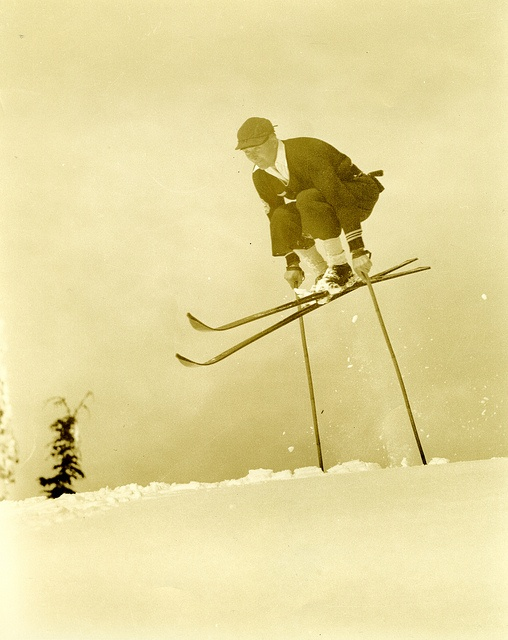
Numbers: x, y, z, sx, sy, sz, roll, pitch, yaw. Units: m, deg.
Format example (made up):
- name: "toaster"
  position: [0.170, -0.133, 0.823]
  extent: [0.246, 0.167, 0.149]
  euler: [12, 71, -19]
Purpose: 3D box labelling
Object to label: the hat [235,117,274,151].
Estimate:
- name: "hat"
  position: [0.001, -0.691, 3.640]
  extent: [0.092, 0.127, 0.074]
  euler: [-11, -66, 52]
